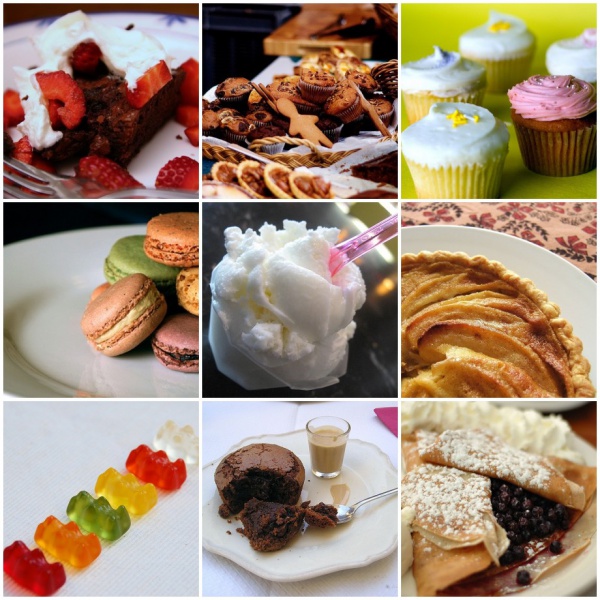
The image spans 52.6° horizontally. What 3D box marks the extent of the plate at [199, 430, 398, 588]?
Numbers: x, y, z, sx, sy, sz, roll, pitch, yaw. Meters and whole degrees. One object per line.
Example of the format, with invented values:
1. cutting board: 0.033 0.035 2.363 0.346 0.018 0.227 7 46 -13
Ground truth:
1. plate: -0.003 0.398 1.194 0.400 0.120 0.283 -4 38 0

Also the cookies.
1. cookies: -0.003 -0.344 1.193 0.392 0.249 0.222 0 40 6

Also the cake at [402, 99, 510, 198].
1. cake: 0.295 -0.289 1.150 0.197 0.156 0.197 4 40 12

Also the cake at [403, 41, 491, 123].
1. cake: 0.289 -0.445 1.213 0.157 0.124 0.150 1 40 5

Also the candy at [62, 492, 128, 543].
1. candy: -0.403 0.430 1.196 0.125 0.041 0.073 23 42 18

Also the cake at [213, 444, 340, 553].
1. cake: -0.066 0.388 1.181 0.188 0.072 0.201 -10 36 -16

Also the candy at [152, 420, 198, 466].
1. candy: -0.260 0.302 1.274 0.110 0.037 0.071 26 47 -4

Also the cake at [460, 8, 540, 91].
1. cake: 0.423 -0.532 1.284 0.163 0.159 0.155 5 38 12

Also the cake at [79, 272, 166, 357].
1. cake: -0.349 0.045 1.230 0.156 0.168 0.113 -42 94 -22

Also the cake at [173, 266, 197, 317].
1. cake: -0.233 -0.019 1.231 0.056 0.085 0.067 -9 41 -4

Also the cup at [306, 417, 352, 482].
1. cup: 0.055 0.299 1.261 0.124 0.116 0.113 1 23 -1

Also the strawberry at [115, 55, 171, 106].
1. strawberry: -0.319 -0.443 1.225 0.112 0.070 0.040 -50 15 1

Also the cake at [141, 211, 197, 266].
1. cake: -0.267 -0.125 1.236 0.115 0.092 0.089 -4 40 2

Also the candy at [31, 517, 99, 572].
1. candy: -0.461 0.469 1.170 0.126 0.042 0.072 23 55 16

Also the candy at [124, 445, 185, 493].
1. candy: -0.308 0.347 1.244 0.129 0.058 0.066 18 74 10

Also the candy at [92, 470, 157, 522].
1. candy: -0.360 0.393 1.222 0.130 0.044 0.071 25 52 8

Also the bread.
1. bread: 0.392 0.051 1.203 0.371 0.210 0.226 0 40 6
